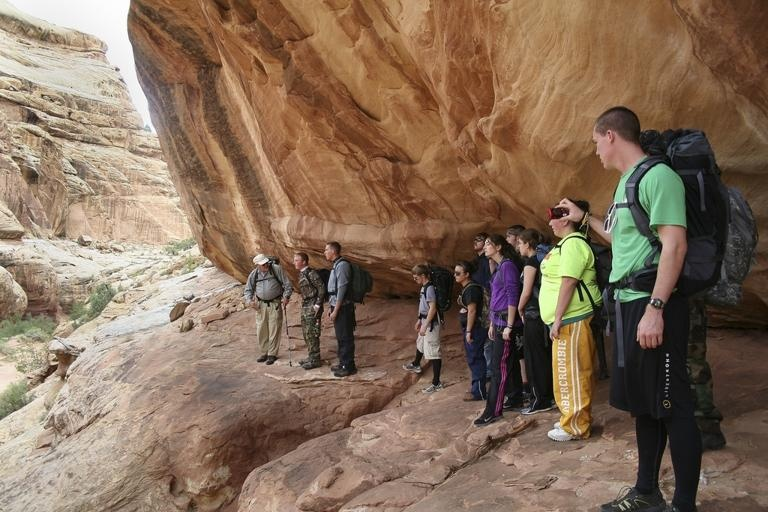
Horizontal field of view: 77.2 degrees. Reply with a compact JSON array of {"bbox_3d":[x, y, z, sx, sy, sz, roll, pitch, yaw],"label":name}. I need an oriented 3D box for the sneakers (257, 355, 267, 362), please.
[{"bbox_3d":[-2.139,1.801,8.454,0.173,0.063,0.089,2,0,27],"label":"sneakers"}]

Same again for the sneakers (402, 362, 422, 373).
[{"bbox_3d":[0.438,1.777,7.700,0.277,0.114,0.121,9,0,12],"label":"sneakers"}]

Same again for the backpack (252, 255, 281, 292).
[{"bbox_3d":[-2.030,0.295,8.424,0.441,0.651,0.642,1,6,4],"label":"backpack"}]

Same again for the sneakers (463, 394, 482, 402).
[{"bbox_3d":[1.117,1.790,6.109,0.215,0.082,0.077,-6,-6,14],"label":"sneakers"}]

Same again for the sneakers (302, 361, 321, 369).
[{"bbox_3d":[-1.200,1.803,7.952,0.337,0.199,0.105,4,-2,-14],"label":"sneakers"}]

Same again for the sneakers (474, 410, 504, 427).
[{"bbox_3d":[1.146,1.769,5.237,0.340,0.138,0.112,-3,-8,-10],"label":"sneakers"}]

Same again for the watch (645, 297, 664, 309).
[{"bbox_3d":[1.727,0.303,3.076,0.072,0.040,0.074,8,-6,44],"label":"watch"}]

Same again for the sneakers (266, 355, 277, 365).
[{"bbox_3d":[-1.966,1.788,8.395,0.193,0.166,0.268,-4,0,-4],"label":"sneakers"}]

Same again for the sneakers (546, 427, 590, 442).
[{"bbox_3d":[1.651,1.590,4.355,0.348,0.143,0.133,3,4,14],"label":"sneakers"}]

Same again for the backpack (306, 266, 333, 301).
[{"bbox_3d":[-1.143,0.406,7.981,0.477,0.440,0.330,-1,0,-20],"label":"backpack"}]

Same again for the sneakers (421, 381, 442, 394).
[{"bbox_3d":[0.674,1.902,6.907,0.305,0.125,0.110,-3,-1,7],"label":"sneakers"}]

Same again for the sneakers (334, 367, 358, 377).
[{"bbox_3d":[-0.629,1.822,7.633,0.258,0.096,0.154,6,-5,-12],"label":"sneakers"}]

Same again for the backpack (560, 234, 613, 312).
[{"bbox_3d":[1.936,0.145,4.375,0.720,0.622,0.443,-3,1,2],"label":"backpack"}]

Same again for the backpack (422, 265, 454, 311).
[{"bbox_3d":[0.818,0.468,6.927,0.323,0.644,0.731,-4,0,6],"label":"backpack"}]
